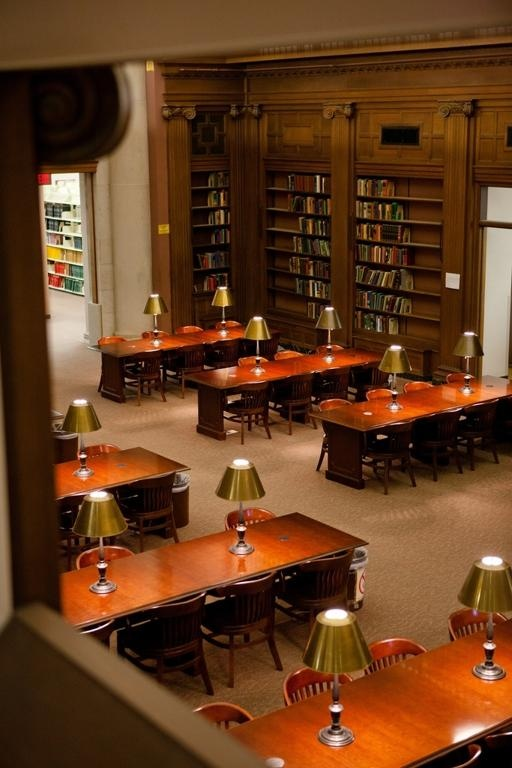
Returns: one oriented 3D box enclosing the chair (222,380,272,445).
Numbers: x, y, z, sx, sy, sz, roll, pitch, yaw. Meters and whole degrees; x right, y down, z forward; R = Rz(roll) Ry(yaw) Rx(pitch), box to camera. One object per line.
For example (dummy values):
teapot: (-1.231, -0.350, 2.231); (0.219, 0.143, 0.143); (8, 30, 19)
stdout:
chair: (-0.156, 0.431, 10.312); (0.829, 1.031, 1.176); (-4, 10, 0)

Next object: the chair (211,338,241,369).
chair: (-0.631, -0.740, 12.240); (0.552, 0.772, 0.552); (-10, 31, -22)

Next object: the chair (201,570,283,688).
chair: (-0.137, 2.268, 5.443); (0.670, 0.979, 0.655); (-12, 26, -31)

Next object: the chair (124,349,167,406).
chair: (-2.179, -0.161, 11.603); (0.741, 1.049, 1.074); (-6, 10, -11)

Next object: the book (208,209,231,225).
book: (-0.916, -4.081, 14.568); (0.487, 0.495, 0.374); (0, -1, 0)

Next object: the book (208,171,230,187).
book: (-0.937, -4.985, 14.569); (0.535, 0.529, 0.382); (-8, 21, -32)

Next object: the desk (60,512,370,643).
desk: (-0.341, 1.799, 5.407); (2.193, 0.479, 0.780); (-15, 31, -31)

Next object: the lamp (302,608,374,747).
lamp: (0.519, 1.715, 3.631); (0.378, 0.902, 0.627); (-2, 10, 13)

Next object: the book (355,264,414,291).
book: (2.837, -2.266, 12.598); (0.544, 0.594, 1.346); (-13, 21, -43)

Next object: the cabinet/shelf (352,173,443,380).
cabinet/shelf: (2.983, -2.314, 12.369); (0.585, 4.241, 2.053); (-12, 13, -41)

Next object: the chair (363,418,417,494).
chair: (1.991, 1.003, 8.850); (0.765, 0.999, 1.034); (-2, 10, 13)

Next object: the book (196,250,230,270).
book: (-1.068, -3.068, 14.618); (0.804, 0.412, 0.259); (-11, 12, -34)
